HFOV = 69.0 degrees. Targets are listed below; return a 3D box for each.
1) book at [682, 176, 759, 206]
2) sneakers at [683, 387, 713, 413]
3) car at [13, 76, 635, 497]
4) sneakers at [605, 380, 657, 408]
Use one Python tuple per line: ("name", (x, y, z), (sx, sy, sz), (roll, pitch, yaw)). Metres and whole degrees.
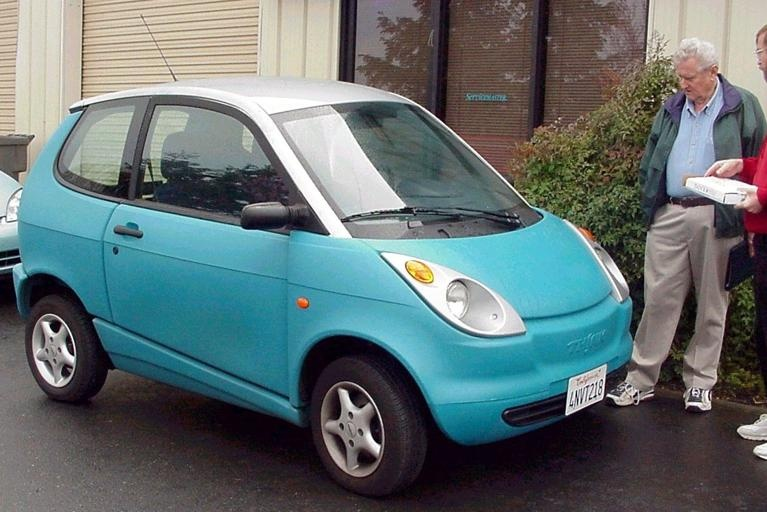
("book", (2.223, -0.449, 3.701), (0.268, 0.066, 0.270), (20, 22, 32))
("sneakers", (2.588, 1.184, 4.579), (0.128, 0.119, 0.273), (-1, -4, 18))
("car", (-0.596, 0.045, 4.430), (4.189, 2.283, 2.612), (7, 11, 33))
("sneakers", (2.070, 1.158, 4.726), (0.431, 0.191, 0.172), (2, 4, -17))
